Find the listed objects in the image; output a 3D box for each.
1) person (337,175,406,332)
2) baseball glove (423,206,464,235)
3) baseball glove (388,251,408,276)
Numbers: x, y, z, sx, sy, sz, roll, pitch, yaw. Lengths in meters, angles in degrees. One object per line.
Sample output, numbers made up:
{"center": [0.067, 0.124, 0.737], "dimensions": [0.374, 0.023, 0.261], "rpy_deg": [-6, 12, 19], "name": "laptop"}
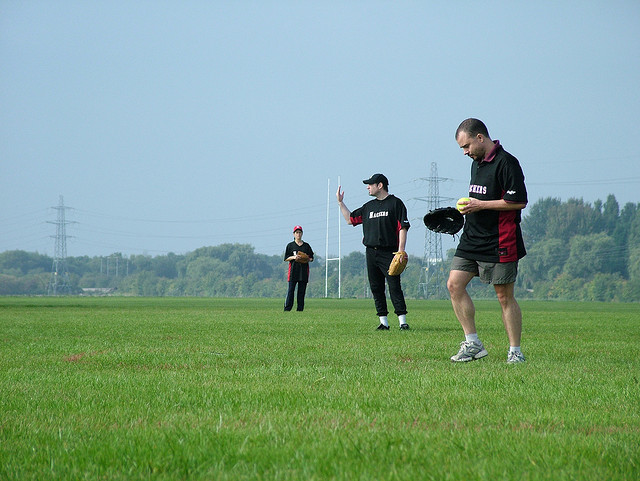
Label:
{"center": [0.997, 0.180, 18.729], "dimensions": [0.892, 2.237, 1.487], "rpy_deg": [-1, -1, -28], "name": "person"}
{"center": [1.692, -0.259, 15.387], "dimensions": [0.560, 0.334, 0.498], "rpy_deg": [-2, 0, 16], "name": "baseball glove"}
{"center": [1.243, 0.361, 18.212], "dimensions": [0.314, 0.342, 0.636], "rpy_deg": [-2, 0, 2], "name": "baseball glove"}
